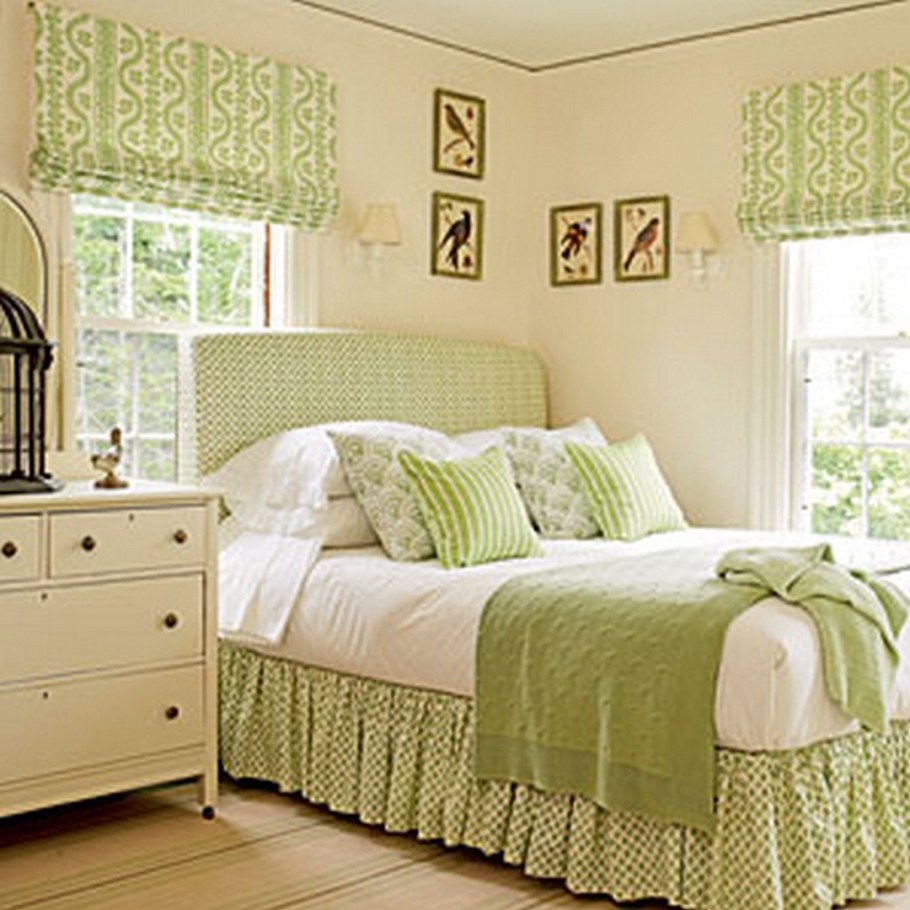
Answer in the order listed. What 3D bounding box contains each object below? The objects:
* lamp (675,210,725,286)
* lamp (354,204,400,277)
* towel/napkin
[{"bbox_3d":[1.058,-0.899,3.932,0.140,0.262,0.213,-2,-4,40],"label":"lamp"},{"bbox_3d":[-0.324,-0.927,3.910,0.191,0.292,0.274,1,-3,-4],"label":"lamp"},{"bbox_3d":[0.780,0.362,2.012,0.380,0.136,0.383,5,4,43],"label":"towel/napkin"}]
